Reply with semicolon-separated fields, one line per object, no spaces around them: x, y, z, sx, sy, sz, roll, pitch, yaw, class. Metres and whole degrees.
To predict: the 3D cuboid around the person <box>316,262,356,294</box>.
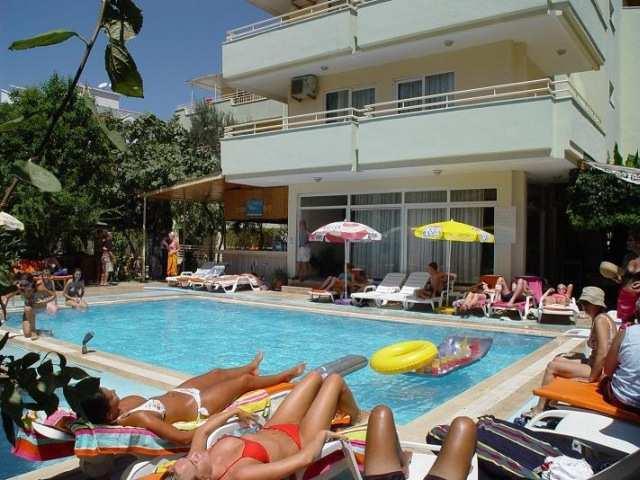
0.489;1.183;15.154;1.359;0.901;0.680;0;7;-31;person

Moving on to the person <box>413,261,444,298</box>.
3.027;1.111;13.508;0.797;1.007;0.827;0;-7;29;person

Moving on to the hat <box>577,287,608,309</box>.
3.032;0.618;5.430;0.236;0.163;0.286;14;0;-41;hat

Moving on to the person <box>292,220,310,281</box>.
-0.667;0.348;17.711;0.511;2.227;1.149;-1;3;-6;person

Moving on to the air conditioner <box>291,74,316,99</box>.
-0.545;-5.555;17.390;0.828;0.755;0.776;2;4;35;air conditioner

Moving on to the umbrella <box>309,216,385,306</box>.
0.778;0.680;14.655;2.315;2.578;2.315;-2;0;-42;umbrella

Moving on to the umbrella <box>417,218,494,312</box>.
3.506;0.453;13.083;1.820;2.071;1.904;-1;9;11;umbrella

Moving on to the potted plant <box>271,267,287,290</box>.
-1.529;1.473;18.099;0.615;0.702;0.615;-2;2;-26;potted plant

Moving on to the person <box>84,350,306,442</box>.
-1.117;1.366;4.306;1.636;0.503;0.887;-11;13;-42;person
